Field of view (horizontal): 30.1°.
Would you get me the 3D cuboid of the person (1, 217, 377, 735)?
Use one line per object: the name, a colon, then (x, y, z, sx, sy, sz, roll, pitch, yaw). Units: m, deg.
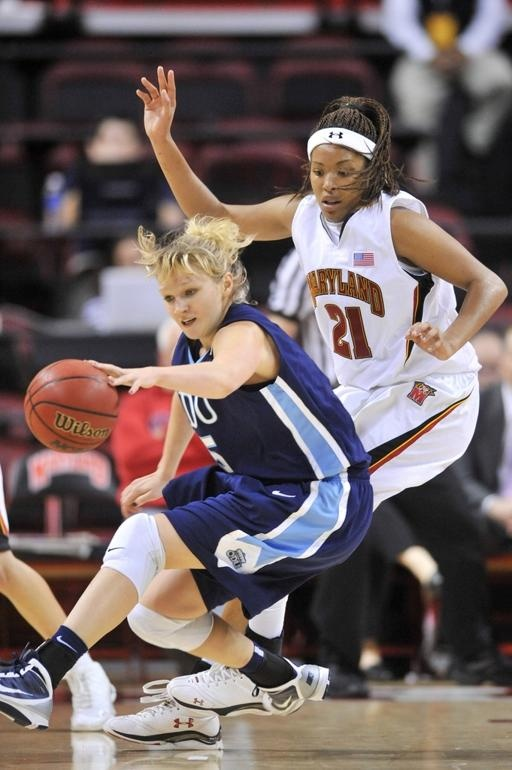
person: (-0.085, 0.288, 2.188, 0.623, 1.140, 0.939, 12, 33, 15)
